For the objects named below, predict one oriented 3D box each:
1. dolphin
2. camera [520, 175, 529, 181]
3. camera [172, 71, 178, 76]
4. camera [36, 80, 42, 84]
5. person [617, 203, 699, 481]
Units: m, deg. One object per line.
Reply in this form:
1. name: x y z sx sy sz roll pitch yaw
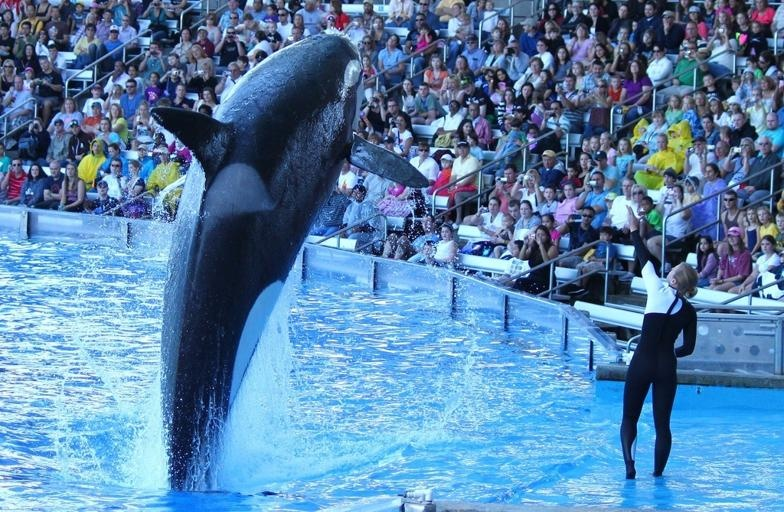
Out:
1. dolphin: -1.406 -0.104 15.355 2.078 4.532 0.985 4 -3 -2
2. camera: 1.960 -1.194 22.684 0.065 0.091 0.245 4 -3 -10
3. camera: -3.934 -3.347 27.617 0.089 0.091 0.061 0 -3 10
4. camera: -6.695 -3.323 28.907 0.089 0.028 0.088 -16 39 -30
5. person: 2.914 1.018 17.005 0.950 2.506 0.839 1 4 1
